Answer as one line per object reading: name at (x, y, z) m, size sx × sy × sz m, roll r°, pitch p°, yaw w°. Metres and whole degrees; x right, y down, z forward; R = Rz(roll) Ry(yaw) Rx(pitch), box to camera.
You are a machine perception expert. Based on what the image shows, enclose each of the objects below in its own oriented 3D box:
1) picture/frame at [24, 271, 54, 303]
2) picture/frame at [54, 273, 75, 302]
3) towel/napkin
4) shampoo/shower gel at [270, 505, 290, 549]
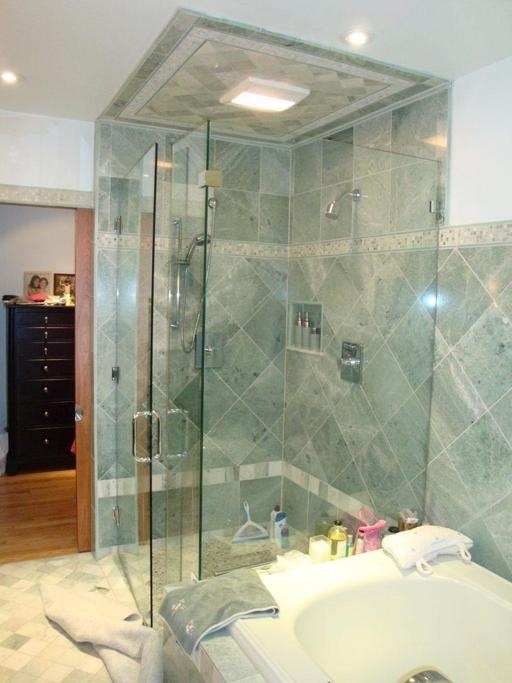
picture/frame at (-2.074, -0.515, 5.163) m, size 0.330 × 0.416 × 0.032 m, roll -1°, pitch 1°, yaw -28°
picture/frame at (-1.834, -0.516, 5.203) m, size 0.184 × 0.276 × 0.269 m, roll -4°, pitch 5°, yaw -21°
towel/napkin at (-0.097, 0.905, 1.777) m, size 0.491 × 0.138 × 0.468 m, roll 13°, pitch -15°, yaw -16°
shampoo/shower gel at (0.101, 0.810, 2.371) m, size 0.075 × 0.161 × 0.078 m, roll -2°, pitch 5°, yaw 4°
